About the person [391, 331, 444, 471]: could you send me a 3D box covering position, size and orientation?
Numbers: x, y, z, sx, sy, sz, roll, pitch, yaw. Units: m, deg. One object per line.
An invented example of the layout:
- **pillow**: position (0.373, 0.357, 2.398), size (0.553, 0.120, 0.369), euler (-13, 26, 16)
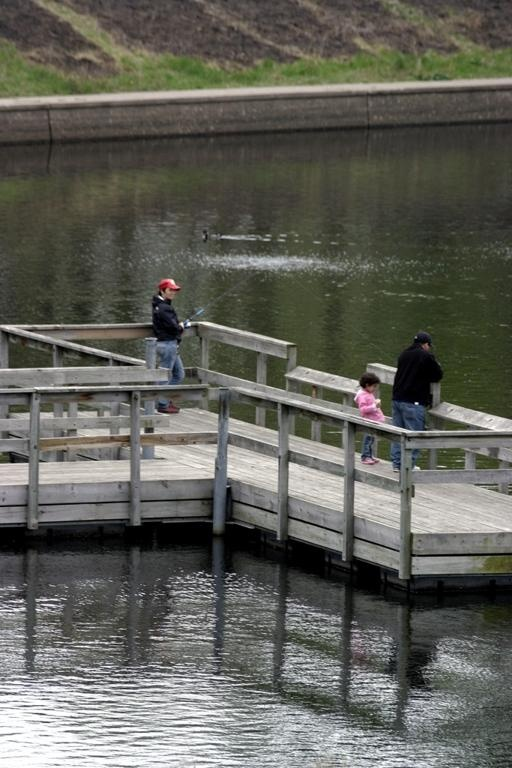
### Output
- **person**: position (1.393, 0.149, 19.559), size (0.414, 1.223, 0.594), euler (1, 9, 4)
